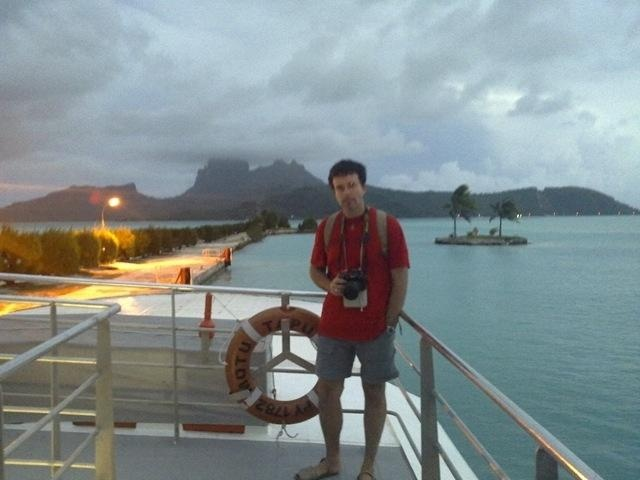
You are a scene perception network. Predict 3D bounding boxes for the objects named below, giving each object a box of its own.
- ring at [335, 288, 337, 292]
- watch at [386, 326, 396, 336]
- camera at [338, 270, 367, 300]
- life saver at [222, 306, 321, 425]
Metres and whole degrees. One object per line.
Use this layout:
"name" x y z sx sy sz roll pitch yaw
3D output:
"ring" 0.120 0.400 3.869 0.025 0.025 0.007 -2 5 0
"watch" 0.552 0.722 3.928 0.056 0.097 0.088 18 -23 6
"camera" 0.232 0.341 3.899 0.215 0.203 0.245 14 26 35
"life saver" -0.542 1.080 4.872 0.954 1.018 0.325 16 1 -5
